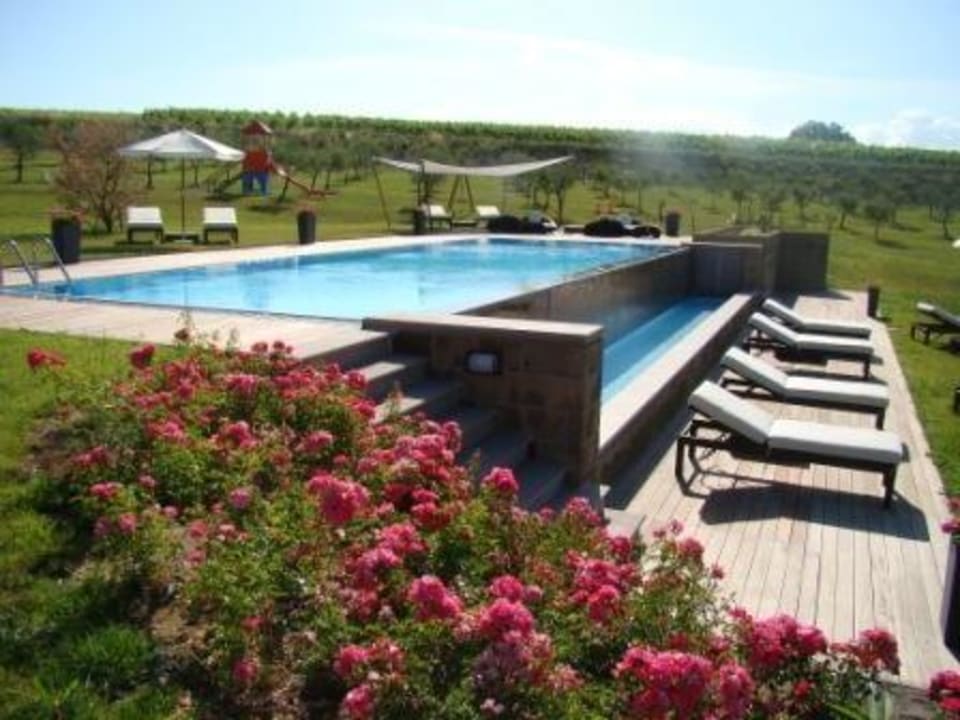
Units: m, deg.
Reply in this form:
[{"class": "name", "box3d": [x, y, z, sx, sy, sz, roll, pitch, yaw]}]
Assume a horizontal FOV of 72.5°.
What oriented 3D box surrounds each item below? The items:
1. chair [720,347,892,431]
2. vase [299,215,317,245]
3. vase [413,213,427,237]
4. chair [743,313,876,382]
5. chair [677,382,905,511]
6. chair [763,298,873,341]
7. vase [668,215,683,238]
[{"class": "chair", "box3d": [4.215, 0.329, 8.463, 1.865, 0.762, 0.912, 6, 12, 25]}, {"class": "vase", "box3d": [-4.905, -3.724, 18.668, 0.462, 0.842, 0.520, -7, 18, -21]}, {"class": "vase", "box3d": [-2.108, -4.824, 23.186, 0.428, 0.827, 0.662, -6, 18, -15]}, {"class": "chair", "box3d": [5.741, -0.375, 11.265, 1.830, 1.017, 1.030, -9, 5, 25]}, {"class": "chair", "box3d": [3.258, 0.665, 6.954, 2.098, 0.923, 1.060, 4, 28, 17]}, {"class": "chair", "box3d": [6.337, -0.673, 12.411, 1.624, 0.521, 0.924, 0, 13, 15]}, {"class": "vase", "box3d": [7.497, -5.199, 25.253, 0.398, 0.853, 0.783, 1, 17, 7]}]
